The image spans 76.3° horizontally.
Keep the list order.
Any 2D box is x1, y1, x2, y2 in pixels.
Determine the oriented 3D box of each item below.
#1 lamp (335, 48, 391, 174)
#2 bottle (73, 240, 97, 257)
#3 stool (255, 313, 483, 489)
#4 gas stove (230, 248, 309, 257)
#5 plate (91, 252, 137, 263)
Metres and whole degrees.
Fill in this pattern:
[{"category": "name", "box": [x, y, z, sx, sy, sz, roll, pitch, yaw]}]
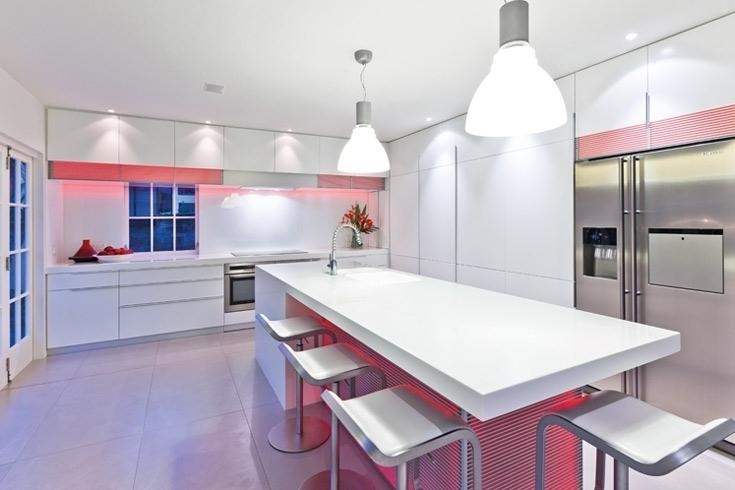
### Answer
[{"category": "lamp", "box": [-0.047, -1.213, 4.346, 0.417, 1.152, 0.908, 0, 3, 1]}, {"category": "bottle", "box": [-3.485, 0.035, 5.806, 0.248, 0.205, 0.243, 1, 0, -9]}, {"category": "stool", "box": [0.020, 1.136, 3.324, 0.398, 0.556, 1.336, -6, 8, -32]}, {"category": "gas stove", "box": [-1.437, 0.107, 6.710, 1.015, 0.063, 0.774, -1, 2, -17]}, {"category": "plate", "box": [-3.149, 0.162, 5.834, 0.386, 0.094, 0.500, -1, 3, -27]}]
